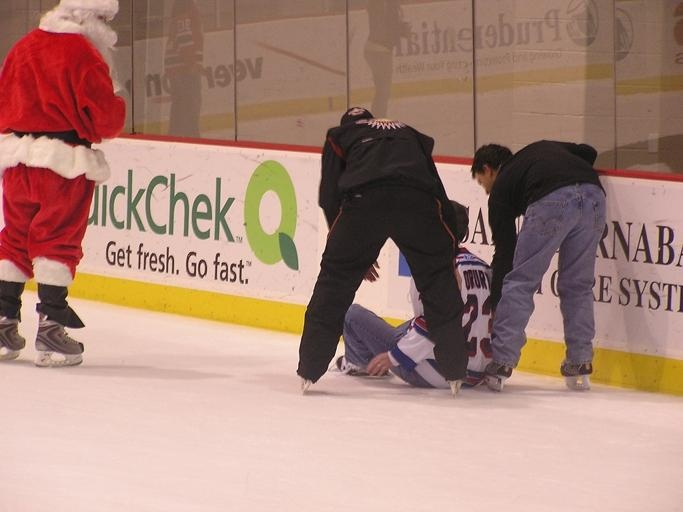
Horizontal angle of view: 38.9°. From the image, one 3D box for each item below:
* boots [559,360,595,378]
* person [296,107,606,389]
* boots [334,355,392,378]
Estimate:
[{"bbox_3d":[1.401,0.671,5.792,0.098,0.067,0.135,2,0,-38],"label":"boots"},{"bbox_3d":[0.653,0.027,5.792,1.305,2.895,1.043,7,-41,-2],"label":"person"},{"bbox_3d":[0.130,0.677,5.931,0.130,0.165,0.388,0,-6,-45],"label":"boots"}]
